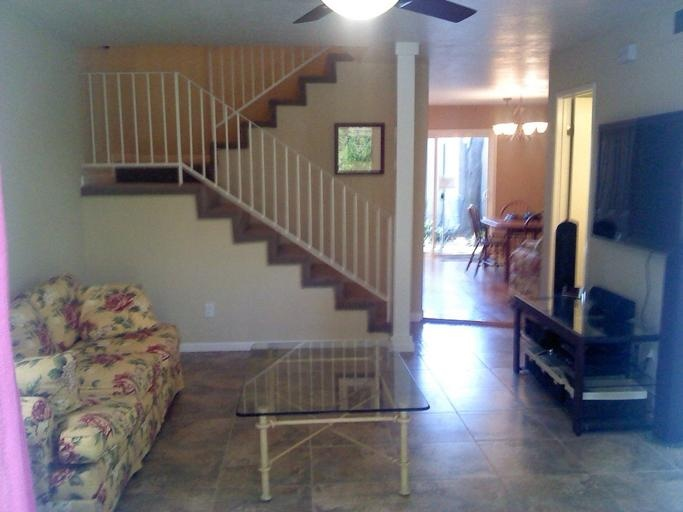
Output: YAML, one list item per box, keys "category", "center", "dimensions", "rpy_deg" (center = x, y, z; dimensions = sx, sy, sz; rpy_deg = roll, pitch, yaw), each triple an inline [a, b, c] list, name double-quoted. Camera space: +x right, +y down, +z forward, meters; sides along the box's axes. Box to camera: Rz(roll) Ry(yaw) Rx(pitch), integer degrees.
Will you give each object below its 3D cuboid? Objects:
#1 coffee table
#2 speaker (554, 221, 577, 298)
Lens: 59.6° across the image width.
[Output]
- category: "coffee table"
  center: [-0.058, 1.017, 3.933]
  dimensions: [1.089, 0.581, 1.065]
  rpy_deg: [0, 13, -1]
- category: "speaker"
  center: [1.885, 0.009, 5.027]
  dimensions: [0.181, 0.616, 0.175]
  rpy_deg: [4, 14, 19]
